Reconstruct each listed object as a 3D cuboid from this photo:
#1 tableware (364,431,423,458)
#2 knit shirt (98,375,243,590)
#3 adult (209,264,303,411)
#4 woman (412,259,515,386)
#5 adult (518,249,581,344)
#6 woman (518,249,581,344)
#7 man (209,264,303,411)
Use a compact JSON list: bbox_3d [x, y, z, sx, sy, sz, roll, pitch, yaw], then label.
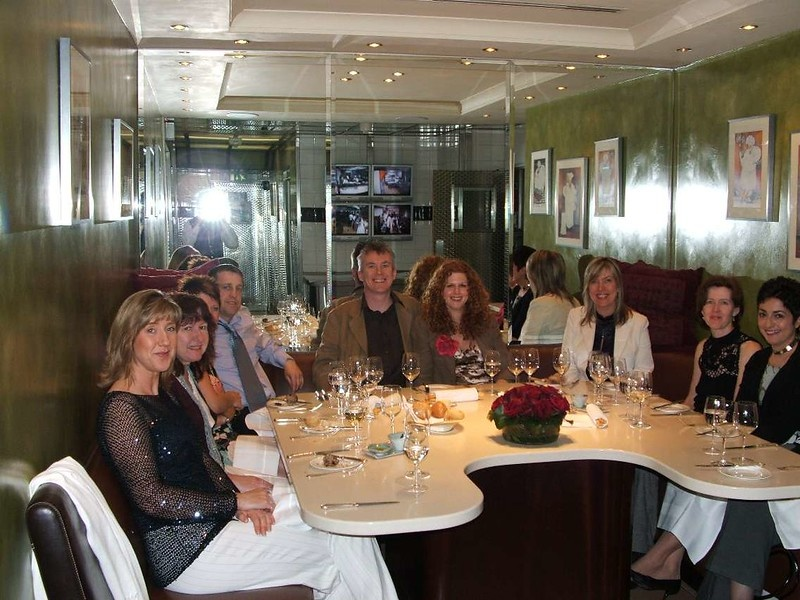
[{"bbox_3d":[-0.051,0.640,2.672,0.152,0.049,0.137,-2,3,-17],"label":"tableware"},{"bbox_3d":[-0.903,0.729,2.364,0.404,0.759,0.592,-19,11,-6],"label":"knit shirt"},{"bbox_3d":[-1.047,0.275,4.005,0.542,1.000,0.683,1,23,6],"label":"adult"},{"bbox_3d":[0.383,0.212,3.898,0.565,0.917,0.478,-3,-9,-9],"label":"woman"},{"bbox_3d":[1.313,-0.011,5.363,0.474,0.897,0.607,5,26,18],"label":"adult"},{"bbox_3d":[1.238,-0.014,5.158,0.530,0.825,0.447,-15,24,-23],"label":"woman"},{"bbox_3d":[-1.023,0.291,4.005,0.584,1.045,0.712,-4,26,-10],"label":"man"}]
